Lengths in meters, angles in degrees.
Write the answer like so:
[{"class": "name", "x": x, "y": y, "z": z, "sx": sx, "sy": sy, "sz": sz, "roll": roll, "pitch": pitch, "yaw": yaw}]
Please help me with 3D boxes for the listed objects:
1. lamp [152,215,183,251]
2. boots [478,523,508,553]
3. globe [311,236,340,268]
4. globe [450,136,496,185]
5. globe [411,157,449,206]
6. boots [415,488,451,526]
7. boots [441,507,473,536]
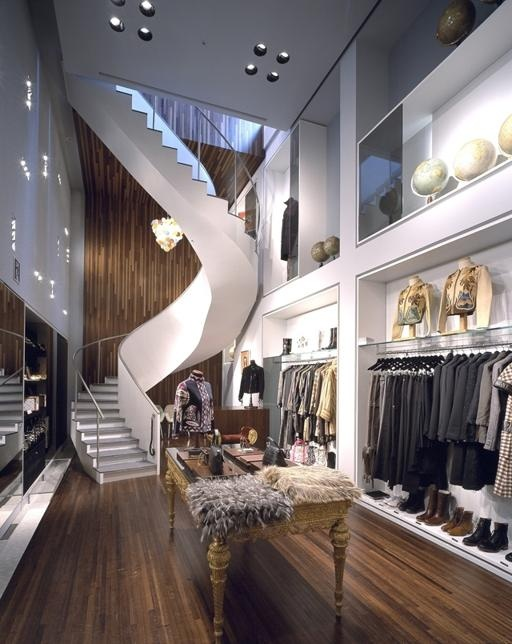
[{"class": "lamp", "x": -1.665, "y": -1.684, "z": 7.985, "sx": 0.505, "sy": 0.538, "sz": 0.396, "roll": 3, "pitch": -5, "yaw": 7}, {"class": "boots", "x": 1.738, "y": 1.549, "z": 3.024, "sx": 0.265, "sy": 0.254, "sz": 0.113, "roll": 11, "pitch": -16, "yaw": -31}, {"class": "globe", "x": 1.012, "y": -1.028, "z": 6.133, "sx": 0.344, "sy": 0.352, "sz": 0.650, "roll": 4, "pitch": -6, "yaw": 3}, {"class": "globe", "x": 1.753, "y": -1.275, "z": 3.350, "sx": 0.303, "sy": 0.329, "sz": 0.161, "roll": 0, "pitch": -5, "yaw": 36}, {"class": "globe", "x": 1.558, "y": -1.231, "z": 3.916, "sx": 0.295, "sy": 0.614, "sz": 0.338, "roll": 1, "pitch": -9, "yaw": 11}, {"class": "boots", "x": 1.544, "y": 1.562, "z": 3.670, "sx": 0.255, "sy": 0.325, "sz": 0.227, "roll": 0, "pitch": -6, "yaw": -26}, {"class": "boots", "x": 1.615, "y": 1.589, "z": 3.360, "sx": 0.199, "sy": 0.201, "sz": 0.164, "roll": 9, "pitch": -14, "yaw": -25}]
